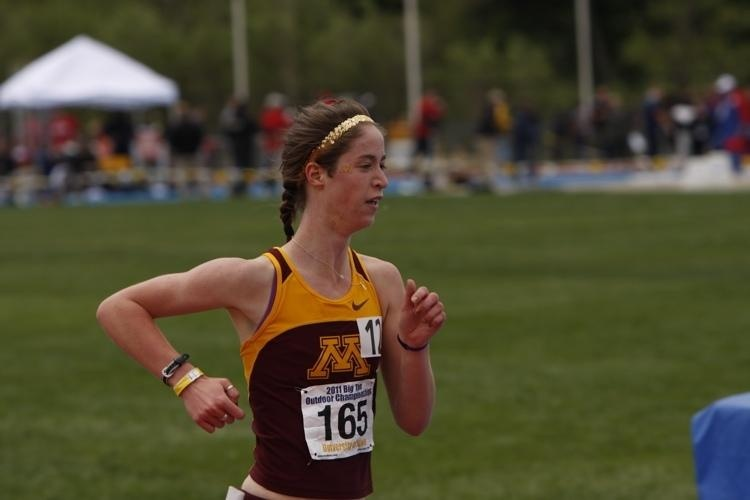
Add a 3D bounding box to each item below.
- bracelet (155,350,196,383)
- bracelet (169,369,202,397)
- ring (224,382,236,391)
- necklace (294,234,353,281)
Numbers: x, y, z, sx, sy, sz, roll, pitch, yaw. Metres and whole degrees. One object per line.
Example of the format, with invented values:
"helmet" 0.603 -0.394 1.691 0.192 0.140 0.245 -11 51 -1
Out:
"bracelet" -1.354 0.806 9.463 0.220 0.223 0.143 33 12 -42
"bracelet" -1.264 0.895 9.470 0.178 0.066 0.184 -42 -4 18
"ring" -0.972 0.932 9.484 0.042 0.050 0.018 -4 -6 15
"necklace" -0.374 0.066 9.654 0.268 0.365 0.186 -1 -12 -26
